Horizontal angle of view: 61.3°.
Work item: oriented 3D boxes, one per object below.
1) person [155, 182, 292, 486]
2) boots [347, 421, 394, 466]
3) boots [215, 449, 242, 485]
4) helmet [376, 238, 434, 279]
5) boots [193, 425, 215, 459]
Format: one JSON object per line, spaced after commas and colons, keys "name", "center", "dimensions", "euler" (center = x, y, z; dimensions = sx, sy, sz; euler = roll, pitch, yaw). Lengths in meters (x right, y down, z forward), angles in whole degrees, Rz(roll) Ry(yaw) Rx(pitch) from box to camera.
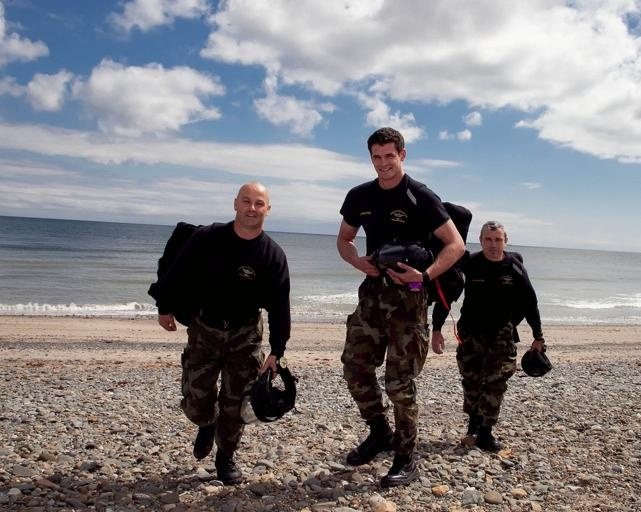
{"name": "person", "center": [-1.074, 0.841, 6.026], "dimensions": [1.466, 3.137, 0.473], "euler": [3, -1, 8]}
{"name": "boots", "center": [0.566, 2.179, 6.375], "dimensions": [0.740, 0.419, 0.237], "euler": [-17, 23, -32]}
{"name": "boots", "center": [-1.009, 2.357, 6.133], "dimensions": [0.202, 0.304, 0.540], "euler": [-4, -5, -13]}
{"name": "helmet", "center": [0.897, -0.003, 5.766], "dimensions": [0.519, 0.182, 0.332], "euler": [5, 13, 23]}
{"name": "boots", "center": [-1.306, 2.108, 6.204], "dimensions": [0.216, 0.186, 0.508], "euler": [4, 2, -2]}
